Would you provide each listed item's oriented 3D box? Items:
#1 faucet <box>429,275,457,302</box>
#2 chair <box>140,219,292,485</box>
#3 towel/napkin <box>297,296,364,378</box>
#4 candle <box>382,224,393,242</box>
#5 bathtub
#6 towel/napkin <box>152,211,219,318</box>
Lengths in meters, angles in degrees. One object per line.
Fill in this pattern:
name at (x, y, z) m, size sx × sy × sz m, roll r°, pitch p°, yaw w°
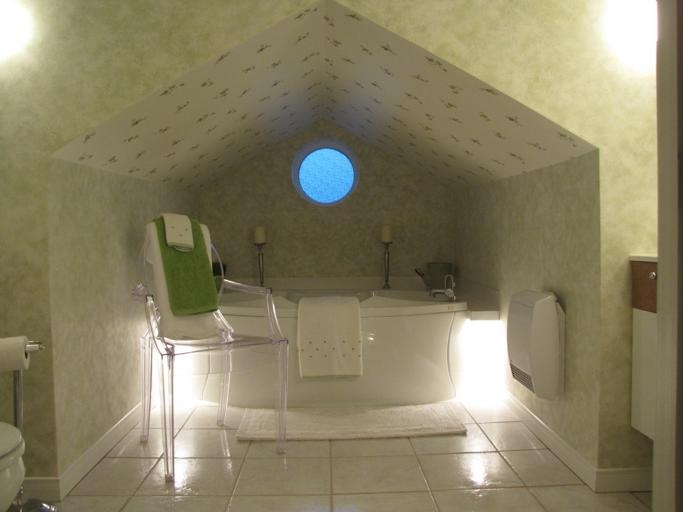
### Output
faucet at (0.785, 0.244, 4.375) m, size 0.209 × 0.225 × 0.147 m, roll 0°, pitch 1°, yaw 11°
chair at (-0.763, 0.431, 3.387) m, size 0.919 × 1.338 × 1.033 m, roll -4°, pitch 13°, yaw -16°
towel/napkin at (-0.076, 0.532, 3.872) m, size 0.381 × 0.517 × 0.128 m, roll -1°, pitch 4°, yaw -1°
candle at (0.400, -0.193, 4.936) m, size 0.101 × 0.154 × 0.153 m, roll 1°, pitch 13°, yaw 4°
bathtub at (0.050, 0.684, 3.787) m, size 1.153 × 0.451 × 0.944 m, roll -2°, pitch 3°, yaw -3°
towel/napkin at (-0.912, 0.081, 3.346) m, size 0.298 × 0.632 × 0.132 m, roll -6°, pitch -10°, yaw -40°
